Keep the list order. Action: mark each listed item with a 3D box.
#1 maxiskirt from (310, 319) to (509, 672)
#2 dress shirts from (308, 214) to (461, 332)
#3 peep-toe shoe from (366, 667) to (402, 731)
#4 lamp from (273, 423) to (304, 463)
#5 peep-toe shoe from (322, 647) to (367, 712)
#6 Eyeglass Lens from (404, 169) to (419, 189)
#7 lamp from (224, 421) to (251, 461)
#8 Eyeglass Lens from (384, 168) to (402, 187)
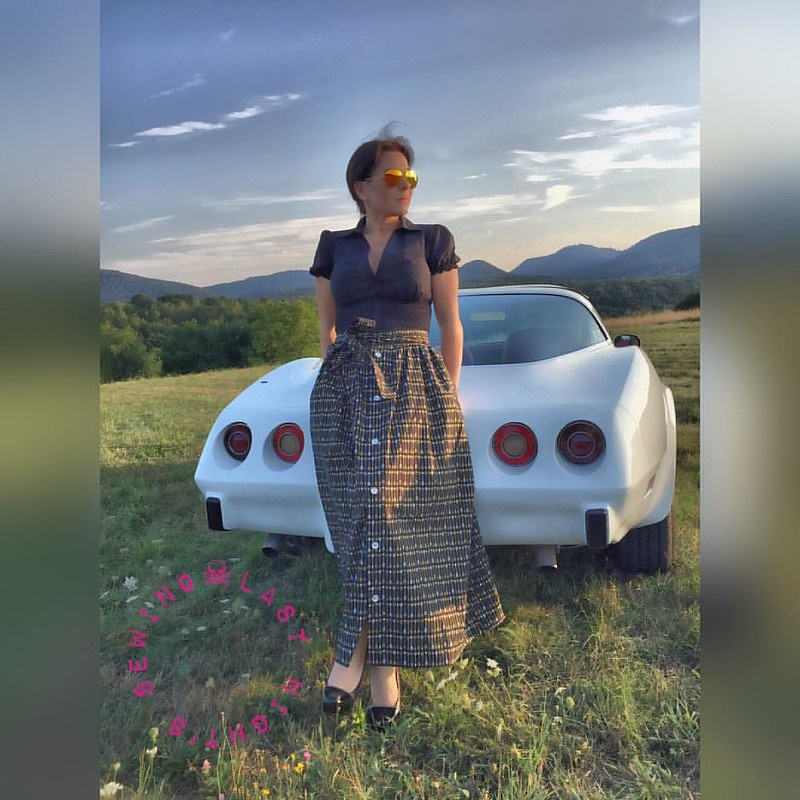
[{"bbox_3d":[-0.017,0.192,1.907,0.458,1.120,0.352,-11,36,-16],"label":"maxiskirt"},{"bbox_3d":[-0.057,-0.330,1.998,0.424,0.442,0.221,-3,-13,6],"label":"dress shirts"},{"bbox_3d":[-0.042,0.769,1.826,0.054,0.076,0.176,-9,25,12],"label":"peep-toe shoe"},{"bbox_3d":[-0.346,0.131,2.148,0.100,0.123,0.027,21,11,23],"label":"lamp"},{"bbox_3d":[-0.130,0.714,1.809,0.061,0.094,0.219,-3,28,16],"label":"peep-toe shoe"},{"bbox_3d":[0.031,-0.617,1.929,0.035,0.056,0.028,-4,38,-1],"label":"Eyeglass Lens"},{"bbox_3d":[-0.514,0.128,2.214,0.098,0.119,0.026,-20,-8,29],"label":"lamp"},{"bbox_3d":[-0.020,-0.611,1.903,0.037,0.022,0.043,0,-14,1],"label":"Eyeglass Lens"}]
